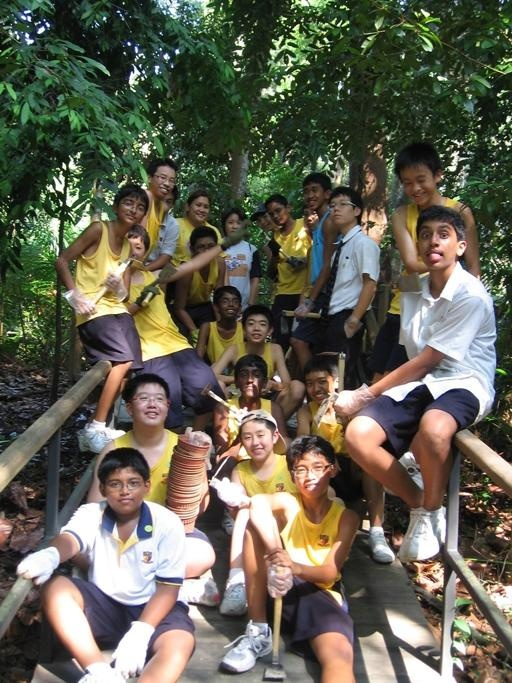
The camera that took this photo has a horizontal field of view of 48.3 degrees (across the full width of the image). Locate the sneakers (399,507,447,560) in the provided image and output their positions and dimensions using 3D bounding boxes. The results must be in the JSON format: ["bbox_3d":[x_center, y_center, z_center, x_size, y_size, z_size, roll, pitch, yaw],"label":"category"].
[{"bbox_3d":[0.647,0.746,2.211,0.117,0.110,0.295,-7,8,22],"label":"sneakers"}]

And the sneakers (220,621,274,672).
[{"bbox_3d":[-0.021,1.219,2.308,0.101,0.108,0.253,18,-2,27],"label":"sneakers"}]

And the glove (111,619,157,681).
[{"bbox_3d":[-0.427,1.072,2.021,0.142,0.060,0.206,14,29,5],"label":"glove"}]

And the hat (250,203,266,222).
[{"bbox_3d":[0.038,-1.343,5.992,0.142,0.118,0.211,-29,8,38],"label":"hat"}]

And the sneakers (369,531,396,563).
[{"bbox_3d":[0.688,1.137,3.153,0.077,0.077,0.211,-3,6,-9],"label":"sneakers"}]
